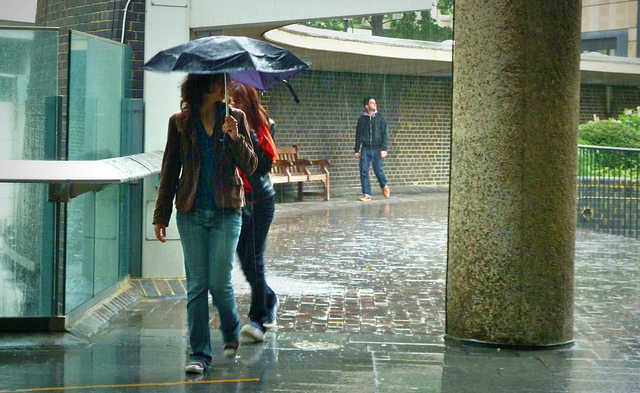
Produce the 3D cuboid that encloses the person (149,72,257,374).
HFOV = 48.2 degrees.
[{"bbox_3d":[-1.039,0.223,6.586,0.807,2.679,0.572,-6,9,-42],"label":"person"}]

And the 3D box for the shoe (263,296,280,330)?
[{"bbox_3d":[-0.521,1.258,7.518,0.093,0.281,0.424,2,8,12],"label":"shoe"}]

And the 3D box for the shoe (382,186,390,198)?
[{"bbox_3d":[1.688,-0.090,18.695,0.116,0.328,0.136,-3,-9,24],"label":"shoe"}]

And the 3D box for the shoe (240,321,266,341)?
[{"bbox_3d":[-0.691,1.366,7.231,0.232,0.173,0.152,0,7,2],"label":"shoe"}]

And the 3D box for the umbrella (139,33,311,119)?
[{"bbox_3d":[-1.014,-1.174,6.995,1.214,0.780,1.267,6,16,26],"label":"umbrella"}]

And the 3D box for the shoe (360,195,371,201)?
[{"bbox_3d":[1.137,0.059,17.949,0.279,0.111,0.097,0,2,-19],"label":"shoe"}]

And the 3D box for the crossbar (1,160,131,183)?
[{"bbox_3d":[-2.399,-0.228,6.536,0.583,0.114,0.385,4,-14,-23],"label":"crossbar"}]

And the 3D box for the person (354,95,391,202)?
[{"bbox_3d":[1.325,-1.217,18.285,0.849,2.593,1.066,1,7,9],"label":"person"}]

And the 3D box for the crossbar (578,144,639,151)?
[{"bbox_3d":[5.583,-0.927,13.716,1.070,0.059,0.528,7,10,42],"label":"crossbar"}]

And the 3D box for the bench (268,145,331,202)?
[{"bbox_3d":[-0.209,-0.743,19.068,0.943,1.266,2.188,-2,7,-3],"label":"bench"}]
